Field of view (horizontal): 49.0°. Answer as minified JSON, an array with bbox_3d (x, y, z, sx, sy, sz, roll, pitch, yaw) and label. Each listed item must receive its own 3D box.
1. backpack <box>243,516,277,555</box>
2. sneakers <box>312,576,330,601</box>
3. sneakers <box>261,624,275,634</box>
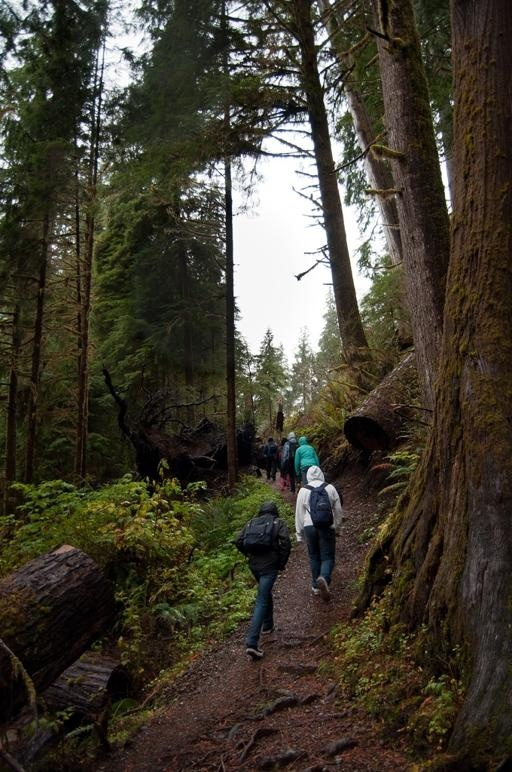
[{"bbox_3d":[0.064,1.687,6.273,0.317,0.257,0.443,-11,22,14],"label":"backpack"},{"bbox_3d":[0.803,2.448,6.771,0.141,0.399,0.167,-10,7,20],"label":"sneakers"},{"bbox_3d":[0.139,2.753,6.336,0.065,0.085,0.182,-5,-3,25],"label":"sneakers"}]
